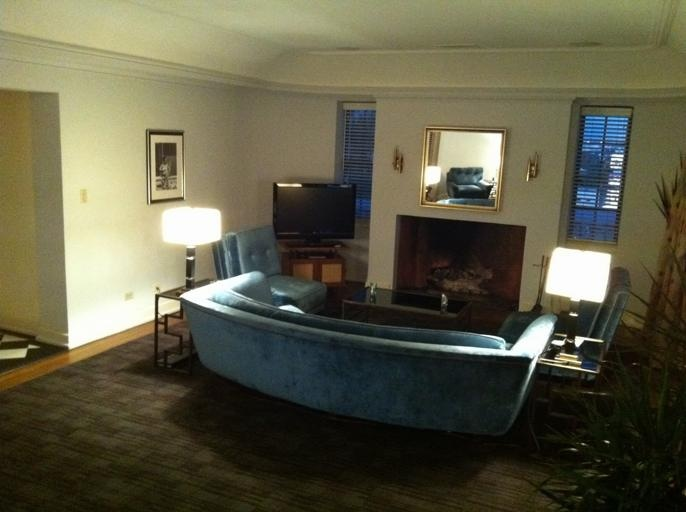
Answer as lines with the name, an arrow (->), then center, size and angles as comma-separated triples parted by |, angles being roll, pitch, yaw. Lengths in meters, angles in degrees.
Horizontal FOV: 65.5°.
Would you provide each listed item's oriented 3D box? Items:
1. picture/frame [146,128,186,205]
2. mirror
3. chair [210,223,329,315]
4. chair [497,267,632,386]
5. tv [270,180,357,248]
picture/frame -> -2.063, -1.048, 6.151 | 0.064, 0.949, 0.829 | 10, 13, 22
mirror -> 1.620, -1.147, 6.961 | 1.119, 1.116, 0.090 | 6, 9, 16
chair -> -0.787, 0.229, 6.208 | 1.060, 0.970, 0.768 | 14, 16, 25
chair -> 1.929, 0.715, 4.878 | 1.171, 0.871, 1.131 | 5, 16, 25
tv -> -0.416, -0.580, 7.387 | 1.025, 0.705, 0.260 | 0, 4, -12
